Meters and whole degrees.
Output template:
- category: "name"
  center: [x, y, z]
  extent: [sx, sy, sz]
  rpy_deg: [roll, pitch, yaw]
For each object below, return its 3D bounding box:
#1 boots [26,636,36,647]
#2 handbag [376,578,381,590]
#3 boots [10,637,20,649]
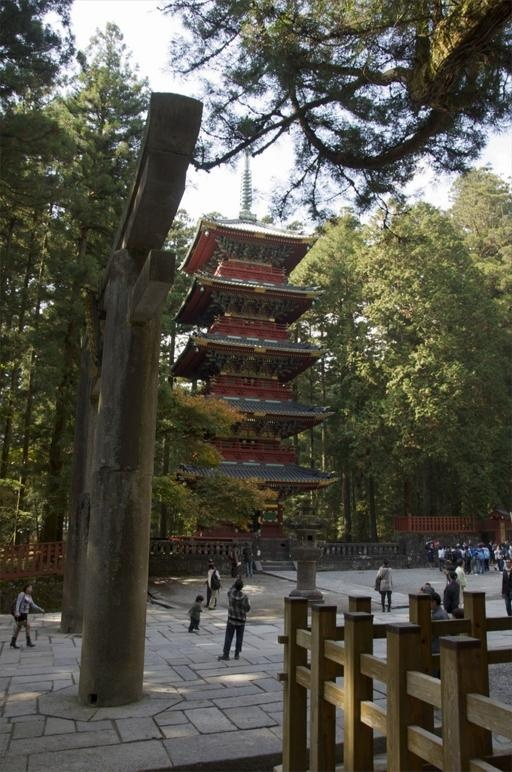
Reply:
- category: "boots"
  center: [-2.811, 3.183, 8.887]
  extent: [0.106, 0.143, 0.313]
  rpy_deg: [7, -11, -18]
- category: "handbag"
  center: [2.257, 3.638, 13.019]
  extent: [0.091, 0.238, 0.251]
  rpy_deg: [2, -10, 8]
- category: "boots"
  center: [-3.005, 3.182, 8.857]
  extent: [0.083, 0.148, 0.267]
  rpy_deg: [7, -11, -17]
